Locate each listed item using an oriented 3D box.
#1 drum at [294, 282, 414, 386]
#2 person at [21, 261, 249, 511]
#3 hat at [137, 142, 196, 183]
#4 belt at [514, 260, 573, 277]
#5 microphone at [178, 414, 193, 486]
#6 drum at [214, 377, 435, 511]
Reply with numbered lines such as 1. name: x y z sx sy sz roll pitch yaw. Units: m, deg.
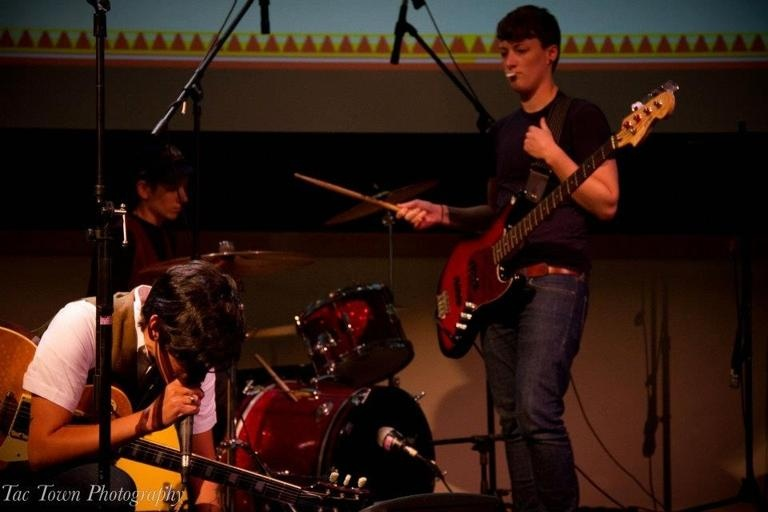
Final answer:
1. drum: -0.219 0.544 5.206 0.683 0.552 0.702 -21 -9 -4
2. person: -1.173 0.615 3.897 1.037 1.242 0.490 4 -1 7
3. hat: -1.548 -0.679 5.632 0.332 0.231 0.442 -3 -19 -42
4. belt: 0.885 0.076 4.297 0.305 0.067 0.051 4 -1 10
5. microphone: -0.944 0.938 3.815 0.078 0.344 0.072 -2 -6 5
6. drum: -0.359 1.083 4.835 0.889 0.877 0.875 2 20 44
